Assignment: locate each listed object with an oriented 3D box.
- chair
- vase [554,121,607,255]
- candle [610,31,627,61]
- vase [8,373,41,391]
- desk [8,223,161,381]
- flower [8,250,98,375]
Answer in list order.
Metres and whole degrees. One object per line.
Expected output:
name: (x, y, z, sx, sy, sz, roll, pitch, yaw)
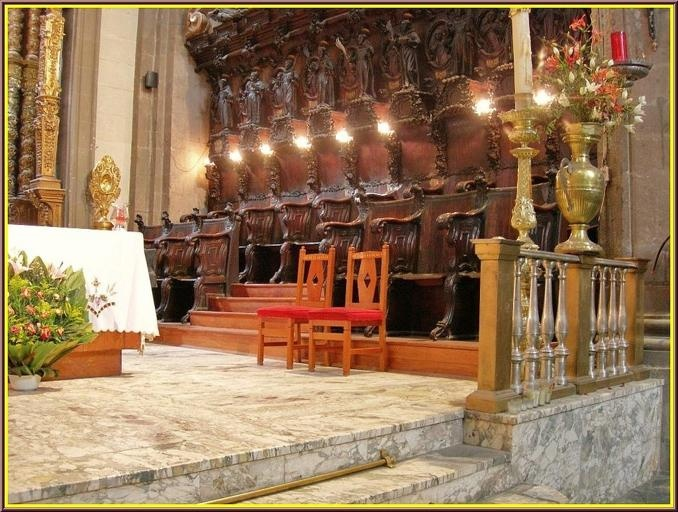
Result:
chair: (0.069, 0.100, 6.605, 2.324, 1.858, 4.384, 1, -1, -41)
vase: (1.593, -0.452, 4.158, 0.295, 0.704, 0.218, 1, 0, 20)
candle: (1.835, -1.369, 4.111, 0.085, 0.185, 0.197, 1, 0, 25)
vase: (-2.022, 0.814, 4.026, 0.182, 0.109, 0.118, 1, -1, -19)
desk: (-1.970, 0.225, 4.793, 0.960, 1.259, 1.269, 0, -1, -27)
flower: (-1.994, 0.388, 4.227, 0.640, 0.868, 0.682, -3, -4, 37)
